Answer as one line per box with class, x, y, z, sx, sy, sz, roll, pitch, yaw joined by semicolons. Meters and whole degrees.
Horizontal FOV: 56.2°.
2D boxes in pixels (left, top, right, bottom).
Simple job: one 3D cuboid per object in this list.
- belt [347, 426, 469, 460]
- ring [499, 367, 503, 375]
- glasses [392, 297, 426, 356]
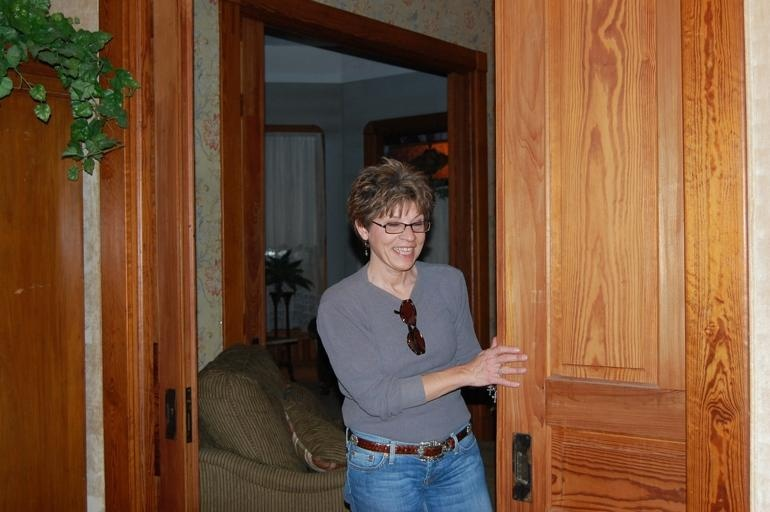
belt;0.087;0.683;2.634;0.456;0.089;0.122;-1;2;-2
ring;0.402;0.394;2.494;0.019;0.021;0.005;0;2;23
glasses;0.085;0.261;2.698;0.084;0.224;0.058;-7;-22;-24
